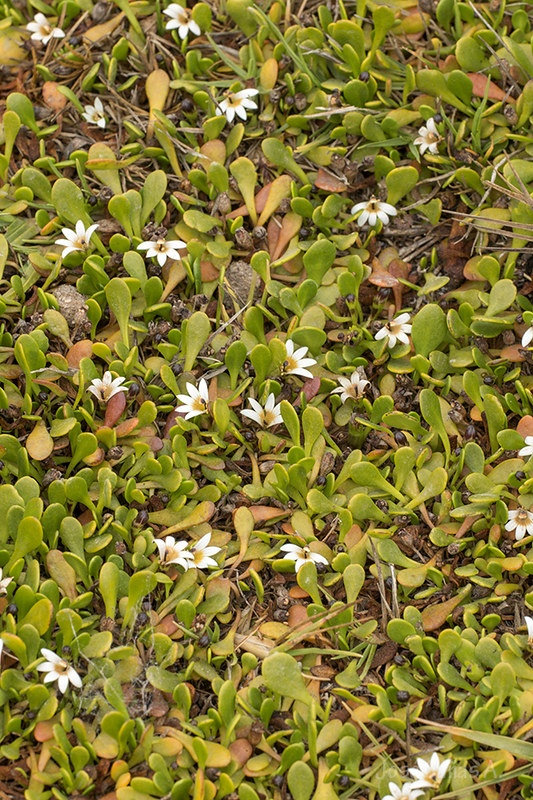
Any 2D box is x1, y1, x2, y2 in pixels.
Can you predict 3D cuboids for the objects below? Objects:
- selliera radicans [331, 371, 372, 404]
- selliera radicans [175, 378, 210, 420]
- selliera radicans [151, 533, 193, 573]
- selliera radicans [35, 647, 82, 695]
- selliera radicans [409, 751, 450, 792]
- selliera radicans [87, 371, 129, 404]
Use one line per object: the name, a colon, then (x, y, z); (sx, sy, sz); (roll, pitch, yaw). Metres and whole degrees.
selliera radicans: (0.175, -0.029, 1.512); (0.073, 0.035, 0.065); (-31, 75, 22)
selliera radicans: (-0.147, -0.004, 1.477); (0.063, 0.088, 0.092); (3, 65, -5)
selliera radicans: (-0.174, 0.285, 1.376); (0.077, 0.069, 0.057); (12, 65, -1)
selliera radicans: (-0.357, 0.474, 1.261); (0.085, 0.119, 0.050); (32, 66, 8)
selliera radicans: (0.270, 0.618, 1.219); (0.084, 0.087, 0.056); (5, 65, -4)
selliera radicans: (-0.315, -0.028, 1.468); (0.072, 0.046, 0.066); (21, 66, 7)
